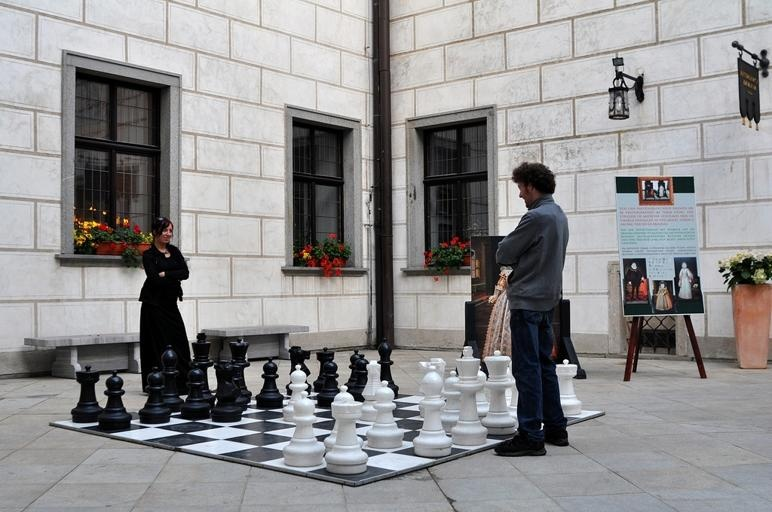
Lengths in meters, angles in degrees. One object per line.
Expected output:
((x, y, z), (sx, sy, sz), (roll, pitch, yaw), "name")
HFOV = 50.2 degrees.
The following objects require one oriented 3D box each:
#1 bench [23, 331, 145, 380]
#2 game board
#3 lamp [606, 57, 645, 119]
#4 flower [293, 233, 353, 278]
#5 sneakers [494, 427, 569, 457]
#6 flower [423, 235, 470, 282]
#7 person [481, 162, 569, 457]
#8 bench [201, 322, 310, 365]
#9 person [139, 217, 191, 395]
((-3.492, 1.201, 9.998), (0.578, 0.460, 1.465), (-5, -5, 39), "bench")
((-0.849, 1.564, 7.134), (3.477, 0.400, 1.574), (-5, -3, 22), "game board")
((3.190, -2.139, 10.975), (0.365, 1.008, 0.244), (-3, -1, -3), "lamp")
((-0.944, 0.009, 12.358), (0.488, 0.610, 0.676), (2, 1, 43), "flower")
((1.191, 1.493, 6.667), (0.641, 0.125, 0.290), (-3, -3, -4), "sneakers")
((0.932, -0.001, 12.474), (0.742, 0.603, 0.360), (-6, -3, 40), "flower")
((1.191, 0.405, 6.766), (0.688, 2.352, 0.374), (-4, -3, -1), "person")
((-1.792, 1.181, 11.257), (1.395, 0.502, 0.568), (-2, -3, -37), "bench")
((-2.361, 0.500, 8.735), (0.521, 1.811, 0.387), (-3, -3, -16), "person")
